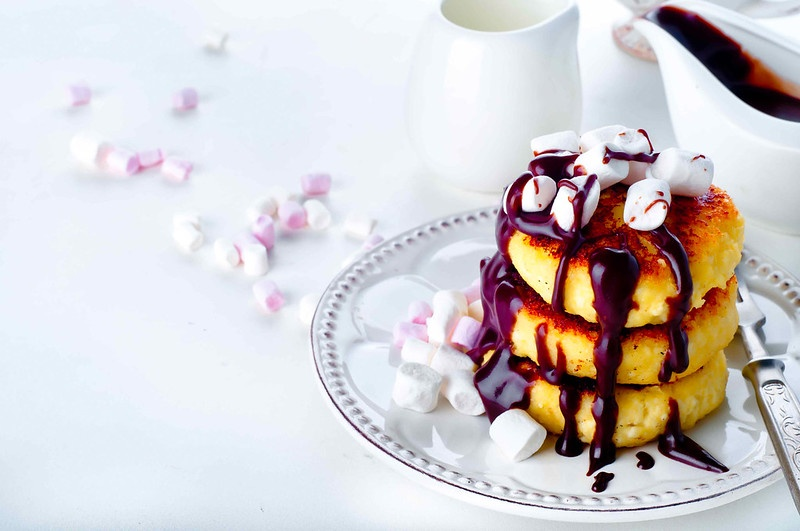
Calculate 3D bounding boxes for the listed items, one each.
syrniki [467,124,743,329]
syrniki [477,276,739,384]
[{"bbox_3d":[0.483,-0.085,1.801,0.440,0.179,0.490,-19,46,-12],"label":"syrniki"},{"bbox_3d":[0.477,0.103,2.024,0.537,0.239,0.429,-1,6,-22],"label":"syrniki"}]
